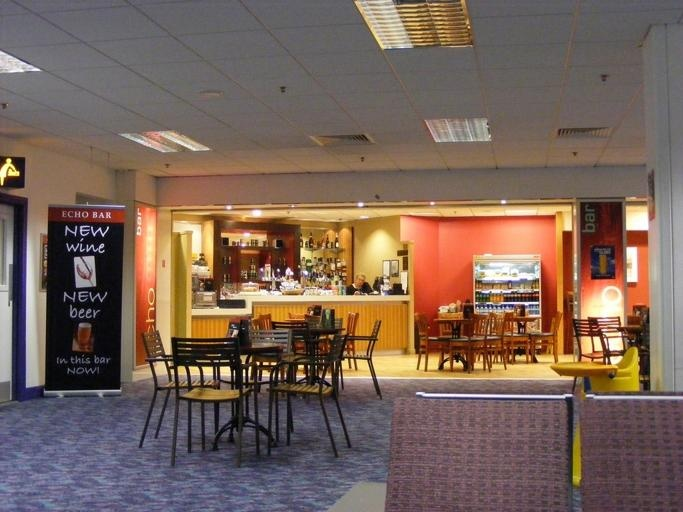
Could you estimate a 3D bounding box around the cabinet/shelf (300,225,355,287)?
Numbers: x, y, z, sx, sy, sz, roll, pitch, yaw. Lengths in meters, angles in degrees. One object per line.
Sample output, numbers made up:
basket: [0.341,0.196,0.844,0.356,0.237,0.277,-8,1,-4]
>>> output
cabinet/shelf: [-0.432,-0.051,17.936,1.626,1.870,0.511,0,-3,0]

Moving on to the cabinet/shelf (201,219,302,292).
cabinet/shelf: [-2.674,0.012,16.189,2.064,1.819,0.594,3,-5,-35]

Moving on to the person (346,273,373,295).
person: [0.459,0.847,15.492,0.468,0.530,0.814,0,-2,24]
